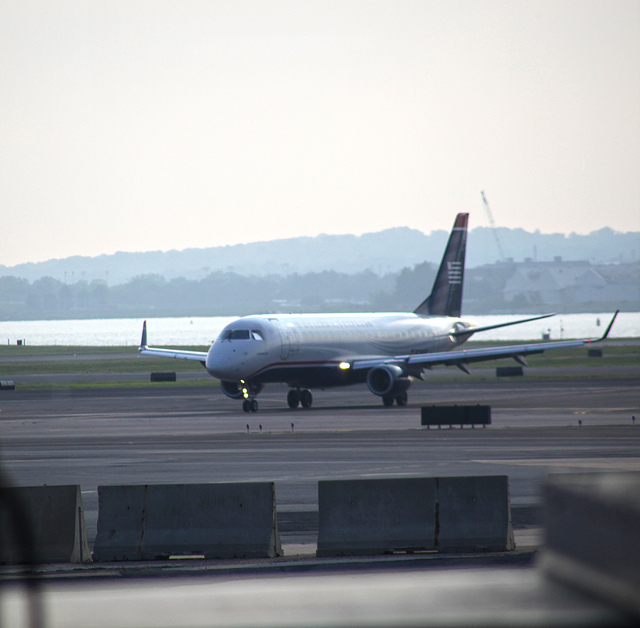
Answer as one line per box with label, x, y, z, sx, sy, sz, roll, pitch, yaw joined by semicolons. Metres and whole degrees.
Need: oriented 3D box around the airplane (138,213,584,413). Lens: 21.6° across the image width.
airplane;2.247;1.259;67.983;11.389;5.121;12.648;-2;-4;38
